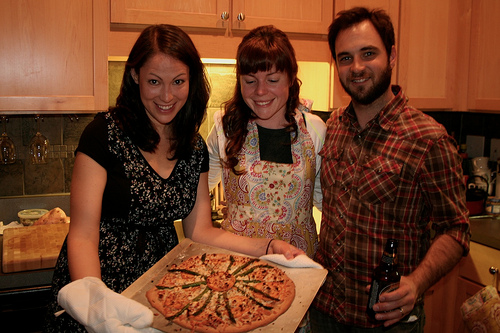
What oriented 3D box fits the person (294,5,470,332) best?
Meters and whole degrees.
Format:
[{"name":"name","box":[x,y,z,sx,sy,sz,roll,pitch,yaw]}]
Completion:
[{"name":"person","box":[0.616,0.043,1.819,0.569,1.593,0.610,-5,7,-27]}]

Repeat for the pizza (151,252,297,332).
[{"name":"pizza","box":[-0.104,0.481,1.500,0.552,0.147,0.400,-4,7,-17]}]

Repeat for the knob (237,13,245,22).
[{"name":"knob","box":[-0.059,-0.945,2.403,0.038,0.052,0.018,-1,12,-8]}]

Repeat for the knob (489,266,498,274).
[{"name":"knob","box":[1.513,0.651,2.366,0.043,0.043,0.047,5,9,42]}]

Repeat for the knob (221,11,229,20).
[{"name":"knob","box":[-0.155,-0.942,2.374,0.050,0.047,0.016,-4,7,-24]}]
